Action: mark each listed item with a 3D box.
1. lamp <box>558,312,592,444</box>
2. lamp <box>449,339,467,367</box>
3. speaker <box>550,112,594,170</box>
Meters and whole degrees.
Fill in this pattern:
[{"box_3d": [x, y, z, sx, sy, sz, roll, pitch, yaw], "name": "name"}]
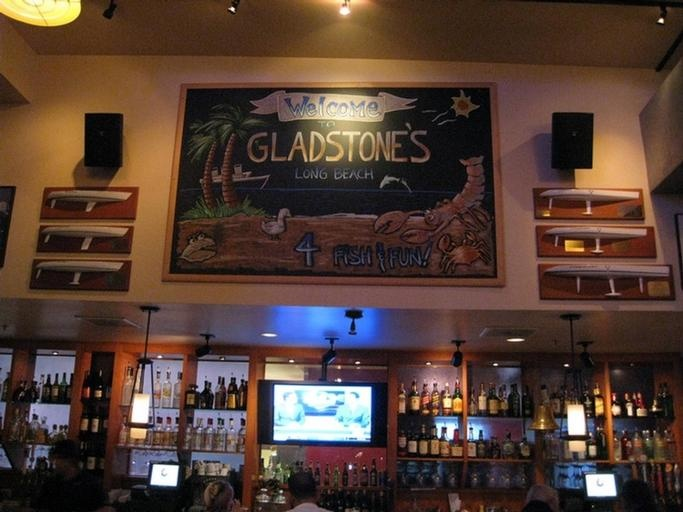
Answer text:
[{"box_3d": [2.743, 1.561, 6.711, 0.302, 1.163, 2.779, -6, -19, 22], "name": "lamp"}, {"box_3d": [1.483, 1.216, 7.173, 0.208, 0.386, 0.378, 4, -23, 2], "name": "lamp"}, {"box_3d": [2.245, -1.122, 5.531, 0.380, 0.516, 0.198, -2, -18, 11], "name": "speaker"}]
